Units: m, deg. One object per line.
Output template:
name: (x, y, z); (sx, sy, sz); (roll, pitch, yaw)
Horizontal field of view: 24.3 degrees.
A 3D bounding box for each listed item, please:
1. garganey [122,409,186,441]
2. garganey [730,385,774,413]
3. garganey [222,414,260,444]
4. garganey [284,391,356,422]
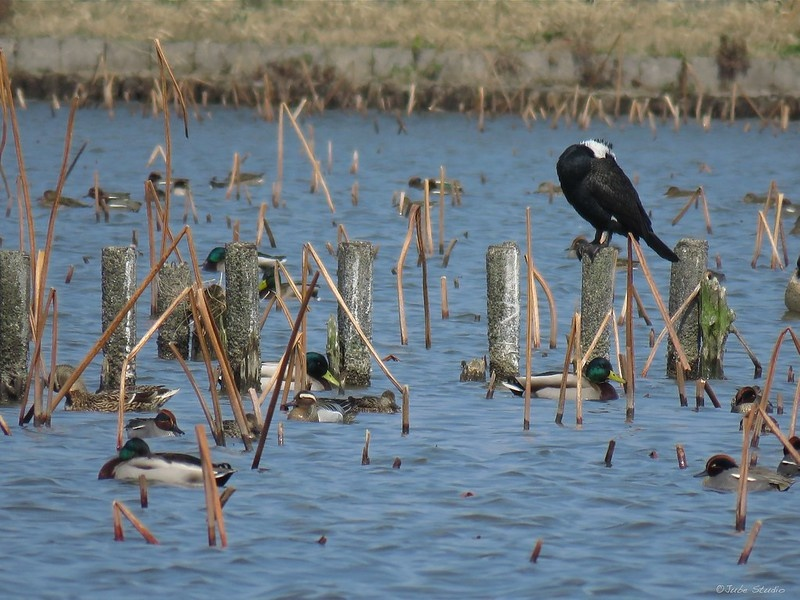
garganey: (-3.897, 2.008, 29.718); (1.087, 0.500, 0.387); (-2, 6, 15)
garganey: (5.730, 1.662, 30.737); (0.496, 0.430, 0.713); (5, 9, 30)
garganey: (-2.517, 2.045, 29.699); (0.532, 0.353, 0.372); (8, 12, 8)
garganey: (-1.301, 1.736, 30.431); (1.010, 0.427, 0.494); (2, -3, 0)
